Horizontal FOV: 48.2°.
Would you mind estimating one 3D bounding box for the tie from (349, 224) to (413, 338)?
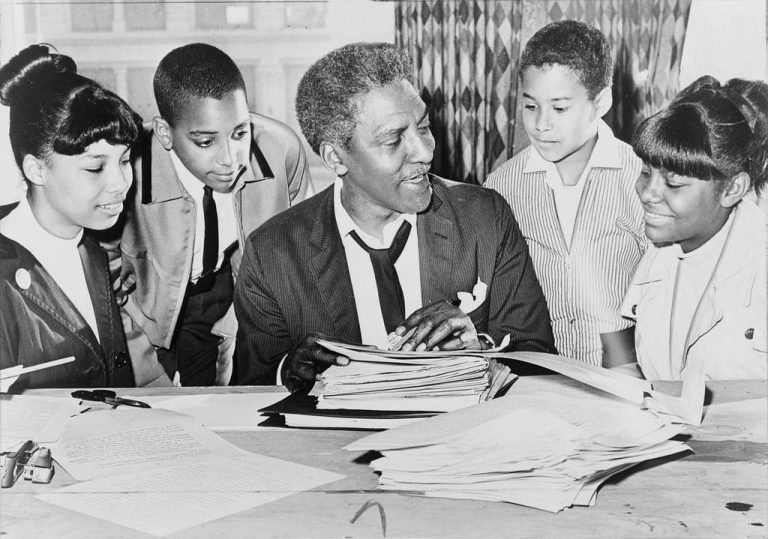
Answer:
[{"bbox_3d":[-0.008,0.055,2.896,0.225,0.502,0.069,0,34,6],"label":"tie"}]

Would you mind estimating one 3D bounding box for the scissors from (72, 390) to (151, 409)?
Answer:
[{"bbox_3d":[-0.728,0.342,2.266,0.201,0.022,0.080,8,12,7],"label":"scissors"}]

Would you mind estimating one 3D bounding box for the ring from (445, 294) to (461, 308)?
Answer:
[{"bbox_3d":[0.223,0.096,2.735,0.030,0.043,0.090,0,10,4],"label":"ring"}]
